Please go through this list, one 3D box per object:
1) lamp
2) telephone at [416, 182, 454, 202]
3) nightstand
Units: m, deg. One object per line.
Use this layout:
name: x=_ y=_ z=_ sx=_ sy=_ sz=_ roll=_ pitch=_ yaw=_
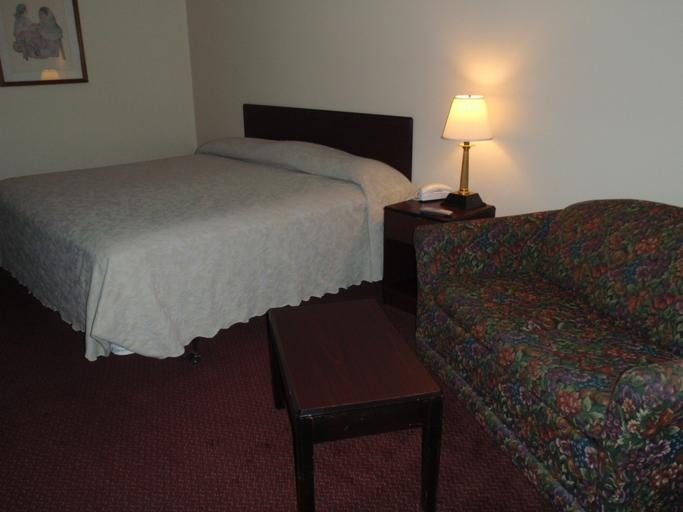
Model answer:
lamp: x=0.850 y=-0.718 z=3.592 sx=0.317 sy=0.714 sz=0.395 roll=7 pitch=23 yaw=14
telephone: x=0.662 y=-0.460 z=3.777 sx=0.186 sy=0.068 sz=0.141 roll=-9 pitch=19 yaw=-25
nightstand: x=0.592 y=0.021 z=3.728 sx=0.435 sy=0.677 sz=0.490 roll=-8 pitch=15 yaw=-39
